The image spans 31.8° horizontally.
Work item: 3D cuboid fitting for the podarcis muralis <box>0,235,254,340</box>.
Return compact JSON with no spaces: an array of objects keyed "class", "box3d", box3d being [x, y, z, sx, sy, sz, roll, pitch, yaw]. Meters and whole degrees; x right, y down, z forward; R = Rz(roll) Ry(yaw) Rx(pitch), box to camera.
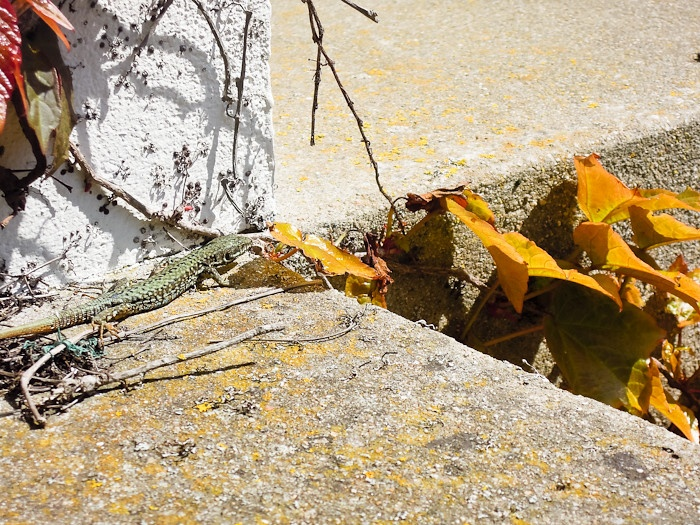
[{"class":"podarcis muralis","box3d":[-0.956,0.132,6.026,1.480,0.154,0.343,-16,38,-26]}]
